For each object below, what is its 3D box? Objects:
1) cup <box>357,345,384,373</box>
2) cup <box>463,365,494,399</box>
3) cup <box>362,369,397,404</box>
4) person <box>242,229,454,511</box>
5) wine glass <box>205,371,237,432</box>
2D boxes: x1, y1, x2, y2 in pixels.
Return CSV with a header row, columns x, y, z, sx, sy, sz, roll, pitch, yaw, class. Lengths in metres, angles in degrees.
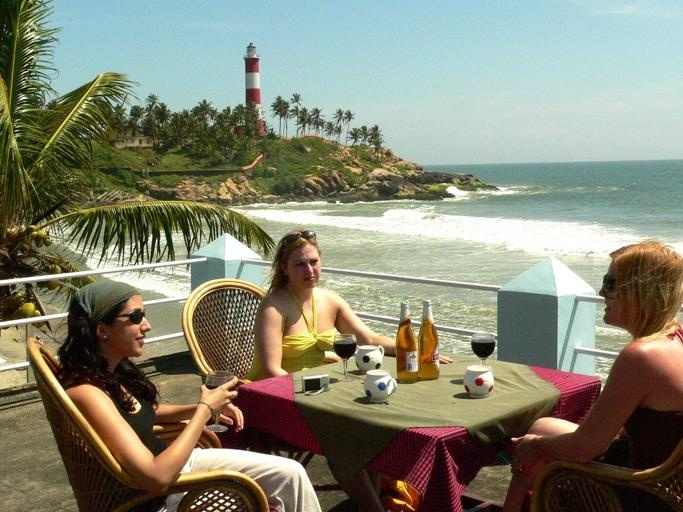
x,y,z,sx,sy,sz,roll,pitch,yaw,class
0.136,0.503,2.712,0.103,0.097,0.137,-3,-7,31,cup
0.591,0.544,2.389,0.139,0.121,0.136,-3,7,0,cup
0.164,0.562,2.322,0.142,0.106,0.110,-9,-18,26,cup
-0.231,0.638,3.817,1.272,1.793,1.118,-27,-16,33,person
-0.505,0.606,2.315,0.147,0.228,0.157,1,-14,-4,wine glass
